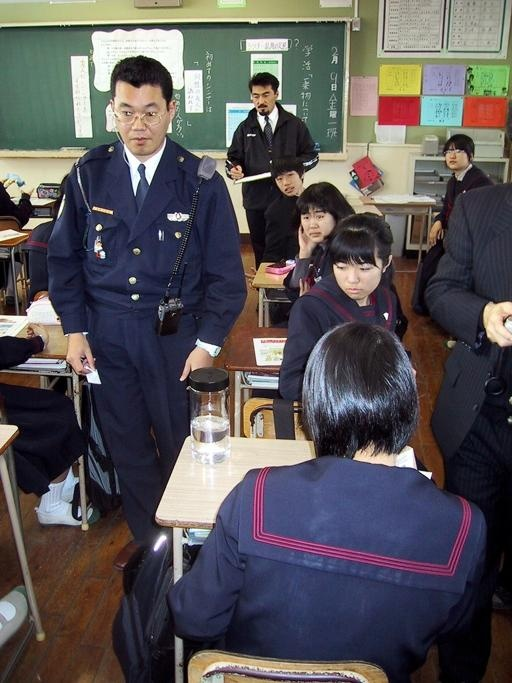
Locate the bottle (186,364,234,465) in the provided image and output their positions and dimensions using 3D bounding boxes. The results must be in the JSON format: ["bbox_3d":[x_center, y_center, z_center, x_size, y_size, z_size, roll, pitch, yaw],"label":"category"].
[{"bbox_3d":[-0.116,0.197,1.246,0.096,0.218,0.097,0,10,0],"label":"bottle"}]

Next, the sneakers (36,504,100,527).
[{"bbox_3d":[-0.829,0.755,2.146,0.262,0.110,0.096,-1,26,-9],"label":"sneakers"}]

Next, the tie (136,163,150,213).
[{"bbox_3d":[-0.351,-0.477,1.505,0.043,0.129,0.043,-7,19,-13],"label":"tie"}]

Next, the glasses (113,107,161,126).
[{"bbox_3d":[-0.342,-0.637,1.396,0.136,0.043,0.045,-1,19,5],"label":"glasses"}]
